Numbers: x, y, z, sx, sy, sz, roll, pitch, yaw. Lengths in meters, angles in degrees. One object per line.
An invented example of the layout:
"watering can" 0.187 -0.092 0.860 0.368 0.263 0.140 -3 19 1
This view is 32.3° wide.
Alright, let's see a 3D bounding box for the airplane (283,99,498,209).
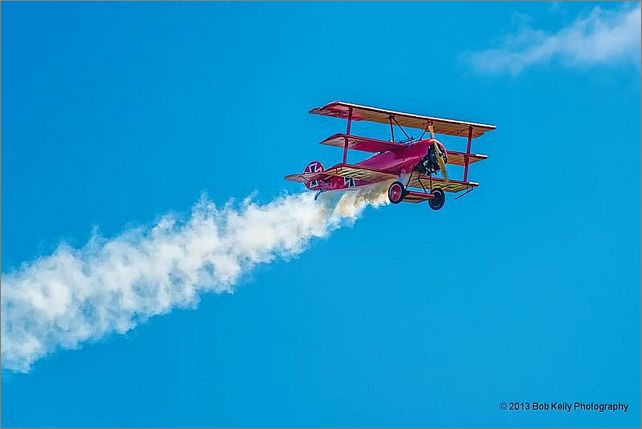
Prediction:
"airplane" 3.800 -2.623 54.296 7.672 2.817 7.176 8 -12 -39
